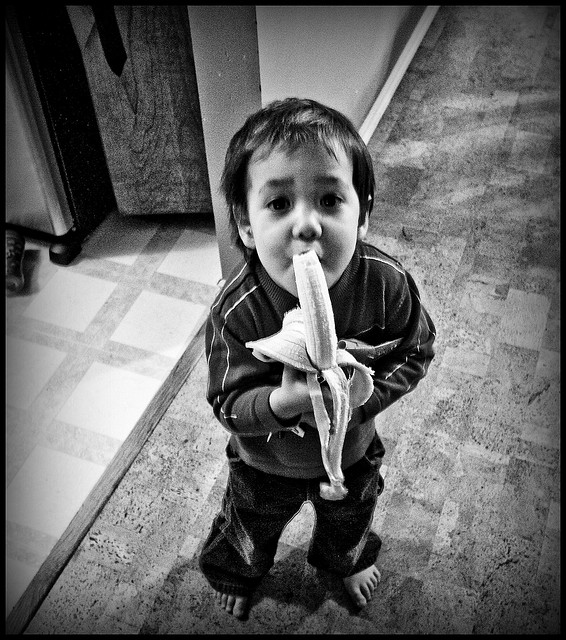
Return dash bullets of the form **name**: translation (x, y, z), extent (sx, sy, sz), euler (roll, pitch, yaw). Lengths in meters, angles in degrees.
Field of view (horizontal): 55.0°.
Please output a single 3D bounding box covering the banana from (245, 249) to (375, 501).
- **banana**: translation (0.036, 0.051, 0.529), extent (0.118, 0.227, 0.101), euler (-3, 3, -10)
